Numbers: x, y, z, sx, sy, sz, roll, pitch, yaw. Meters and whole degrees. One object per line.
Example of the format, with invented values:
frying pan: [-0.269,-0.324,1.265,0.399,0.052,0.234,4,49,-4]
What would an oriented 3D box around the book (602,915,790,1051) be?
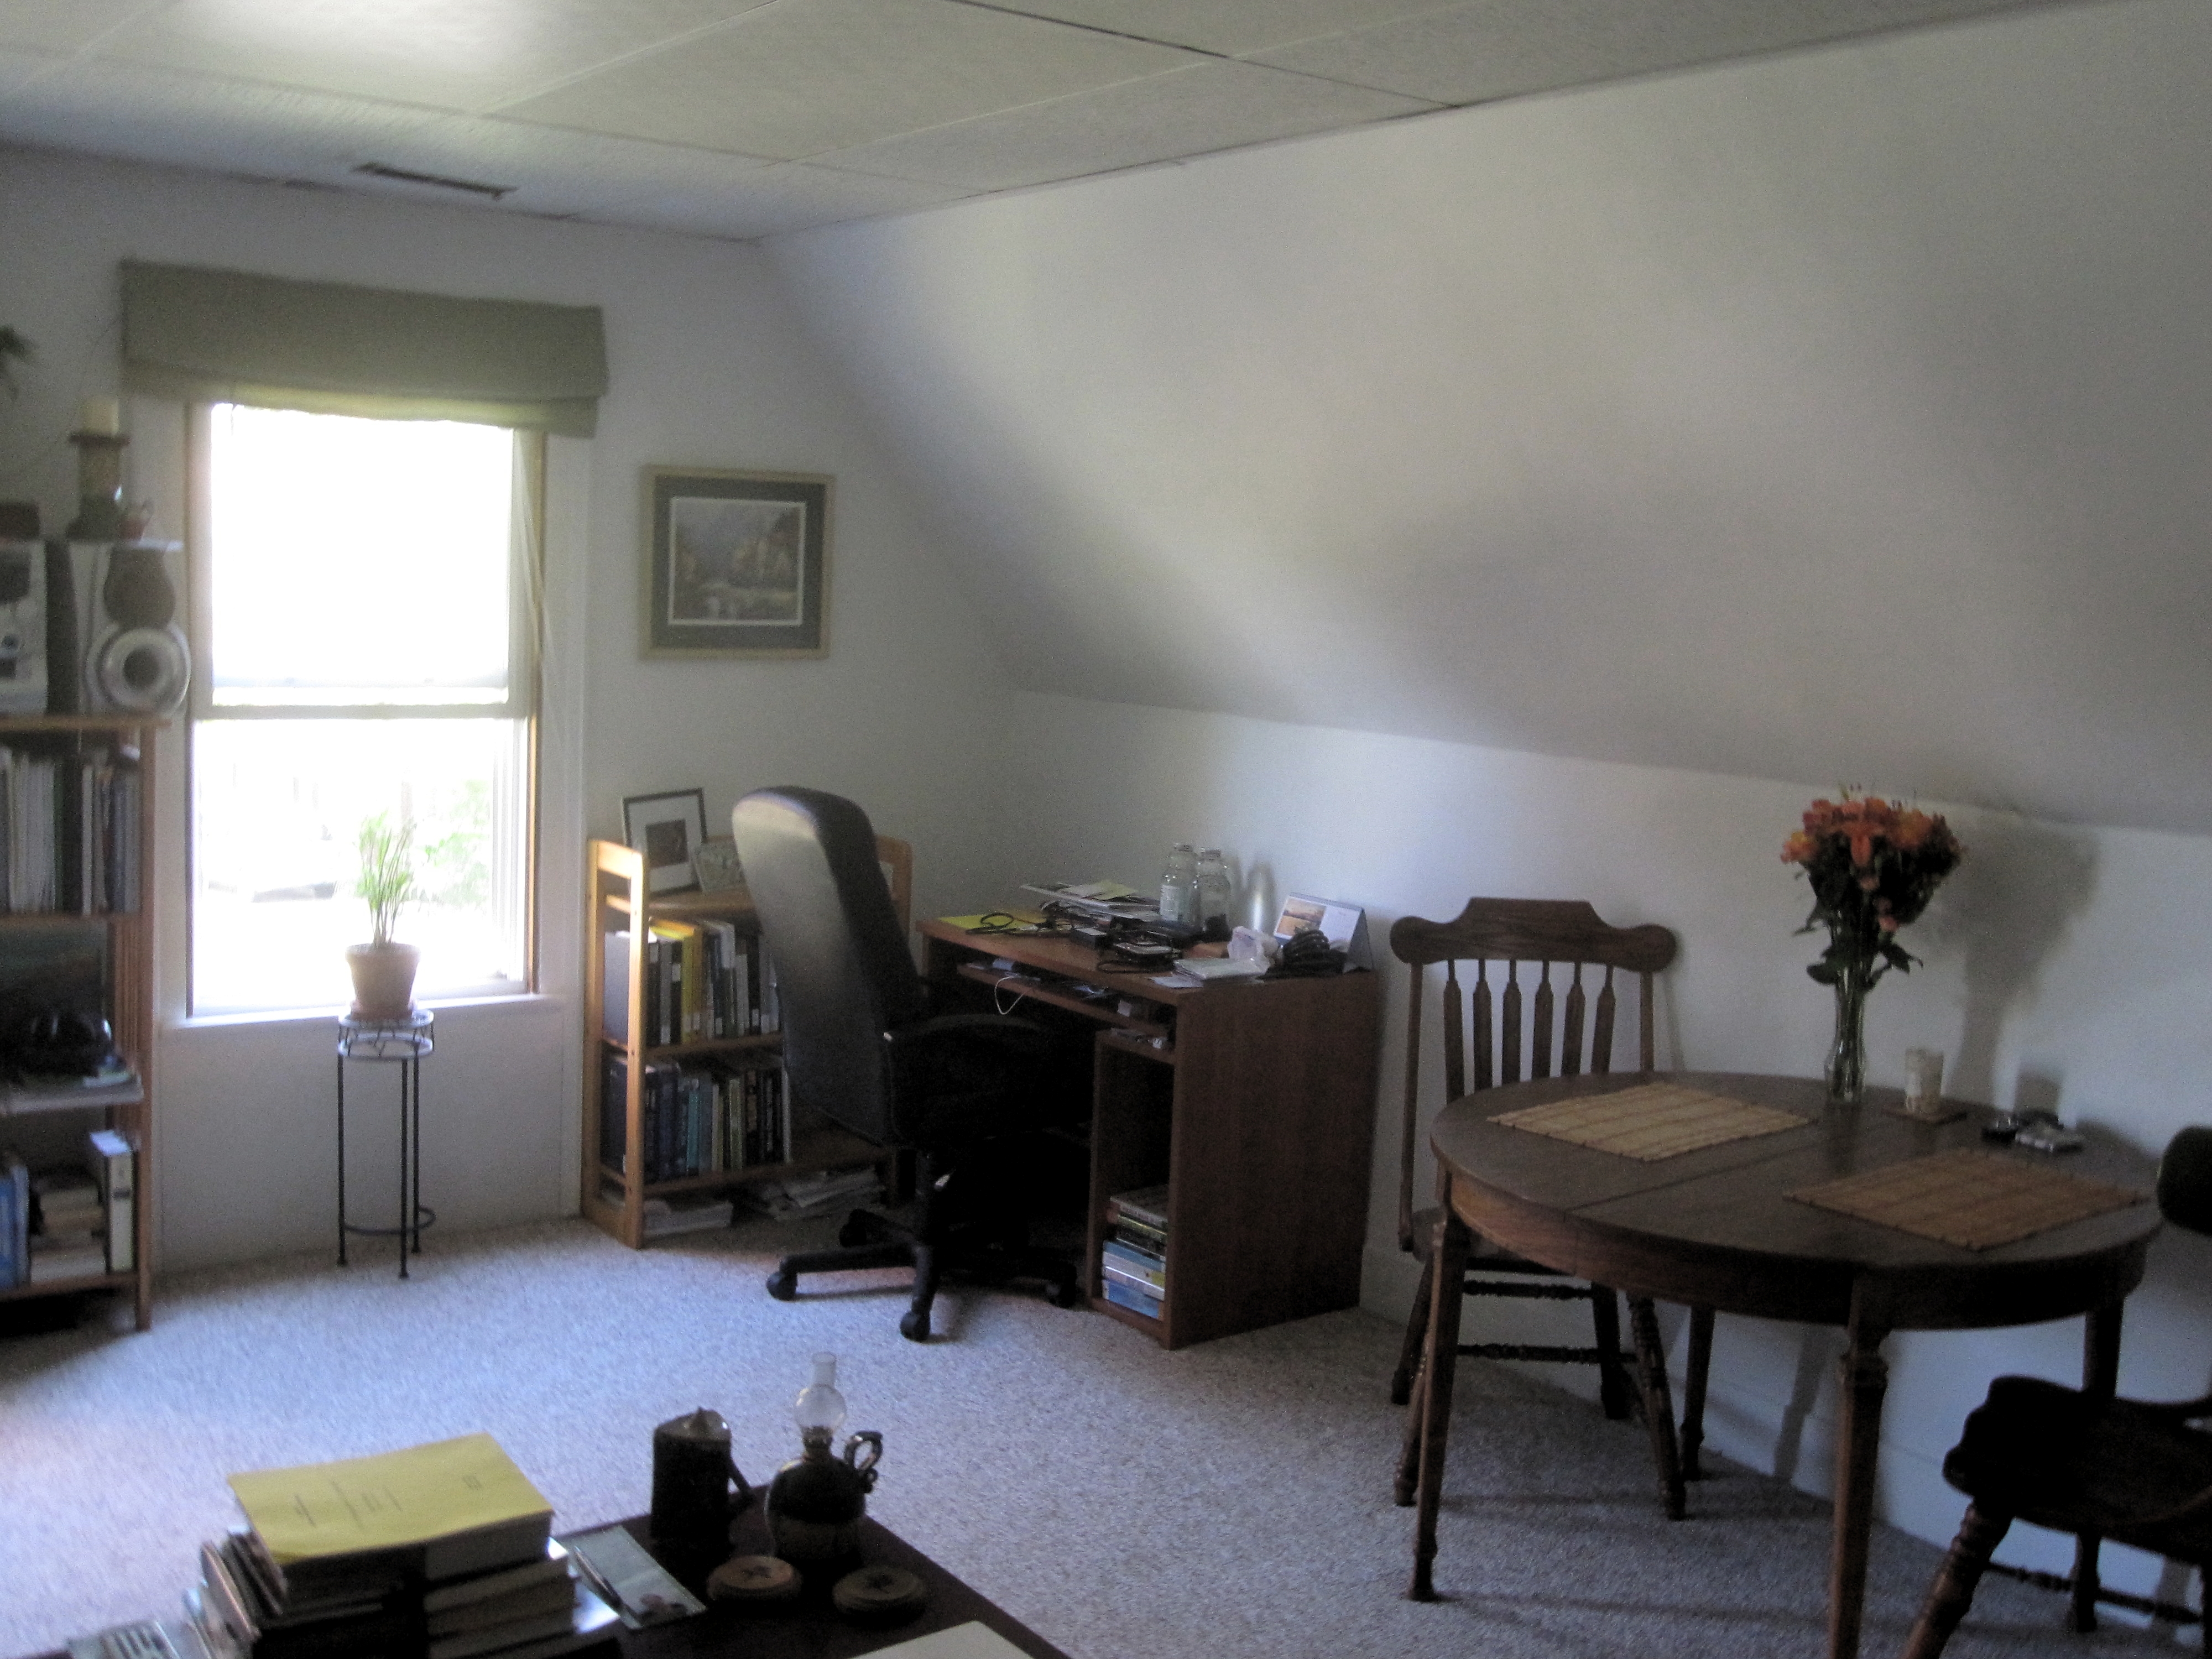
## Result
book: [-1.157,0.437,4.811,0.525,0.448,0.326,1,1,-26]

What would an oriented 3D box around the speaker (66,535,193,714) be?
speaker: [-2.335,-0.479,4.012,0.230,0.405,0.092,-6,13,-35]

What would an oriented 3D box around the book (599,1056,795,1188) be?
book: [-1.169,0.836,4.868,0.522,0.422,0.328,1,4,-25]

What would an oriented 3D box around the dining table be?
dining table: [1.333,0.671,3.112,1.076,0.830,1.040,-2,4,-42]

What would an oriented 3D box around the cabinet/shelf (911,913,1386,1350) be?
cabinet/shelf: [0.088,0.713,4.775,0.821,1.147,1.500,-2,5,-30]

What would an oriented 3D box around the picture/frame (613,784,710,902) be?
picture/frame: [-1.315,0.043,4.931,0.020,0.312,0.258,-1,15,38]

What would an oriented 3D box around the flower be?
flower: [1.601,0.235,3.536,0.310,0.633,0.357,9,13,35]

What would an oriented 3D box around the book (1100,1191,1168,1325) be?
book: [0.071,1.112,4.363,0.166,0.288,0.253,2,11,-1]

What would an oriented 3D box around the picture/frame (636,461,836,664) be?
picture/frame: [-1.134,-0.819,5.042,0.606,0.598,0.061,0,5,-35]

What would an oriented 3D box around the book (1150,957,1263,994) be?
book: [0.276,0.375,4.345,0.251,0.015,0.351,5,11,15]
